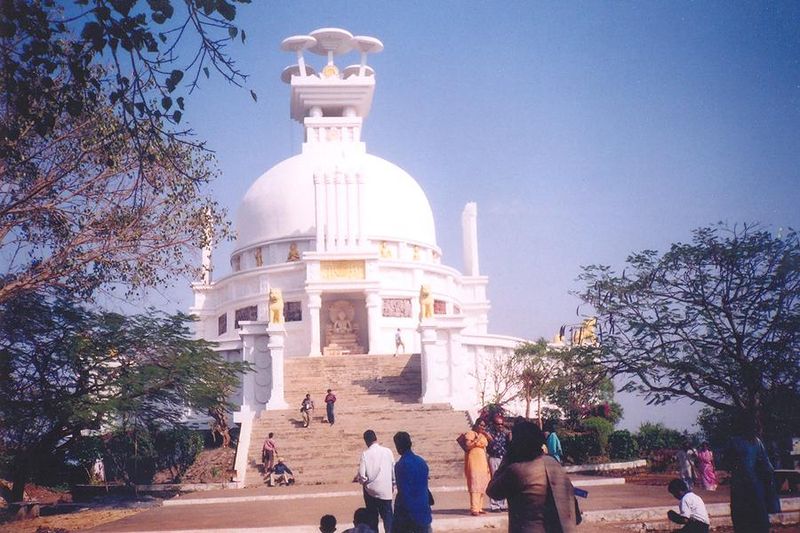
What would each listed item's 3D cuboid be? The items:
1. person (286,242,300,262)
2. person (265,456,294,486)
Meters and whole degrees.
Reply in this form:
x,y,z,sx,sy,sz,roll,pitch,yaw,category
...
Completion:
x,y,z,sx,sy,sz,roll,pitch,yaw,category
-7.002,-0.781,48.558,1.155,1.436,1.041,-2,-26,-4,person
-4.107,7.243,25.544,1.216,1.166,0.668,-4,-18,5,person
